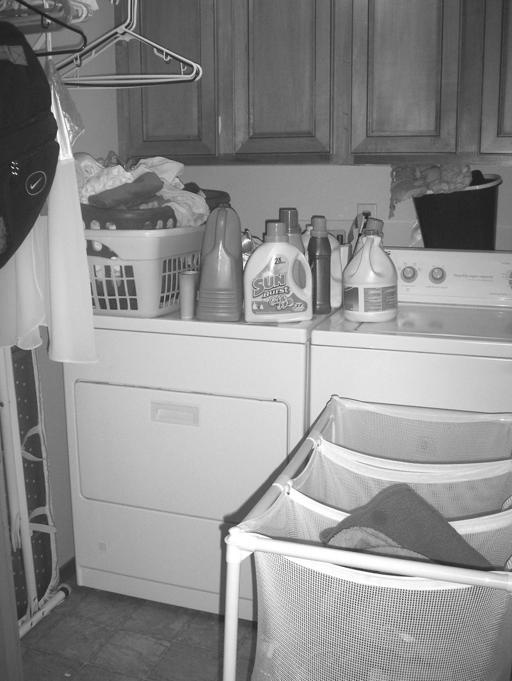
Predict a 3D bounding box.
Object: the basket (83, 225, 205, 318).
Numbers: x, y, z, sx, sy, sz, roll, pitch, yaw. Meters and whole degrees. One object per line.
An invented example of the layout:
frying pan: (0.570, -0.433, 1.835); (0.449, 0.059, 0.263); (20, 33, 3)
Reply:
basket: (-0.314, -0.206, 1.660); (0.216, 0.196, 0.317); (4, 12, 21)

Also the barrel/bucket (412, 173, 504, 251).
barrel/bucket: (0.754, -0.407, 2.158); (0.365, 0.284, 0.248); (-3, 7, 34)

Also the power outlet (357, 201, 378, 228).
power outlet: (0.400, -0.470, 2.150); (0.080, 0.091, 0.063); (-5, 12, -30)
